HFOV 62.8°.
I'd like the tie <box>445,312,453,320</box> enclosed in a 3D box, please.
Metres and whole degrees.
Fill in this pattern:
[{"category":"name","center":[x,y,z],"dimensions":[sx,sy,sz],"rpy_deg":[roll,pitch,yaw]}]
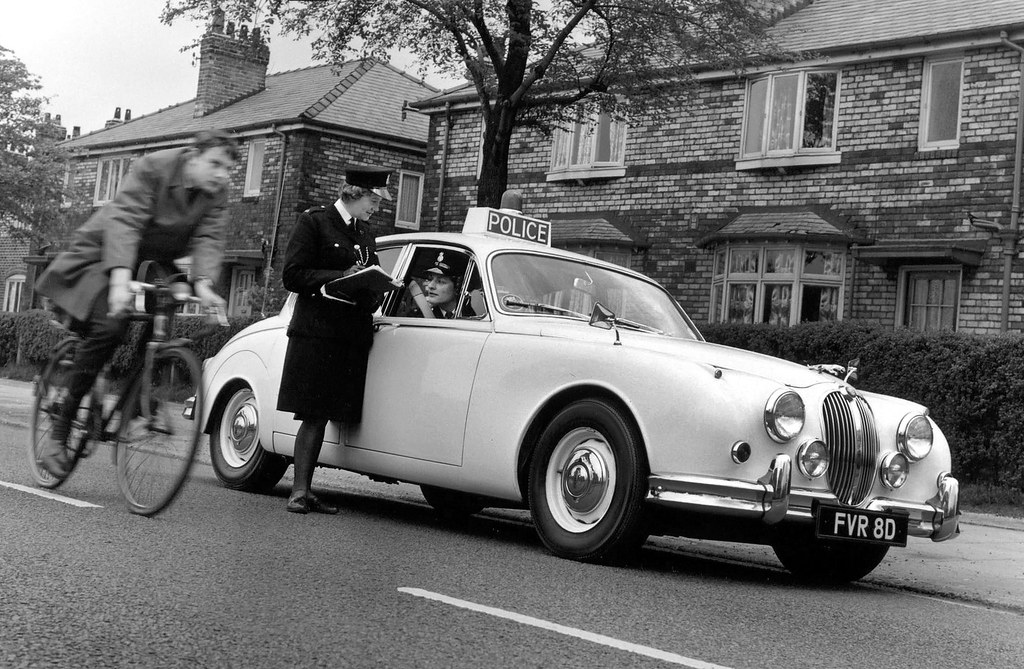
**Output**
[{"category":"tie","center":[-0.557,-0.164,7.318],"dimensions":[0.047,0.047,0.012],"rpy_deg":[10,-11,28]}]

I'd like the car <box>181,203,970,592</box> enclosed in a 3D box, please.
[{"category":"car","center":[0.894,0.353,7.019],"dimensions":[4.729,2.970,1.840],"rpy_deg":[4,-2,29]}]

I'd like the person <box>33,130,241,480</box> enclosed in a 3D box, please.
[{"category":"person","center":[-2.912,-0.214,6.451],"dimensions":[1.488,2.506,0.965],"rpy_deg":[5,-2,-6]}]
